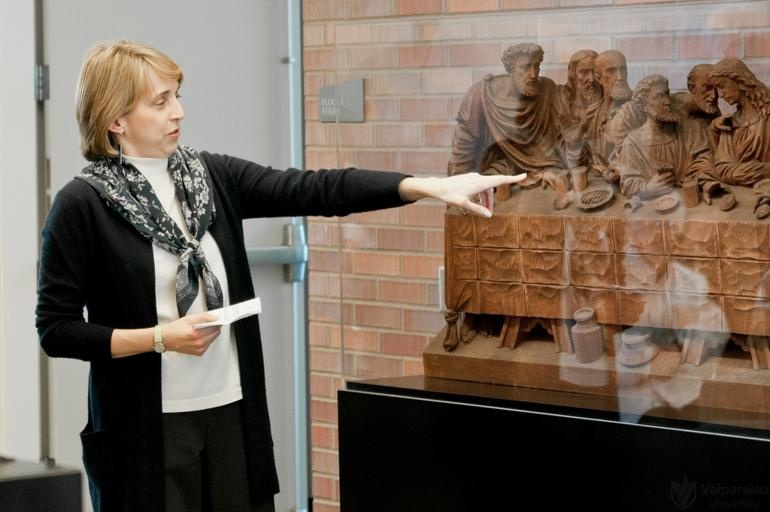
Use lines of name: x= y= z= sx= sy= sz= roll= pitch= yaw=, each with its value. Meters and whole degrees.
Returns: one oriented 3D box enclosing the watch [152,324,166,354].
watch: x=-0.618 y=0.222 z=2.172 sx=0.038 sy=0.065 sz=0.068 roll=-2 pitch=-17 yaw=3
